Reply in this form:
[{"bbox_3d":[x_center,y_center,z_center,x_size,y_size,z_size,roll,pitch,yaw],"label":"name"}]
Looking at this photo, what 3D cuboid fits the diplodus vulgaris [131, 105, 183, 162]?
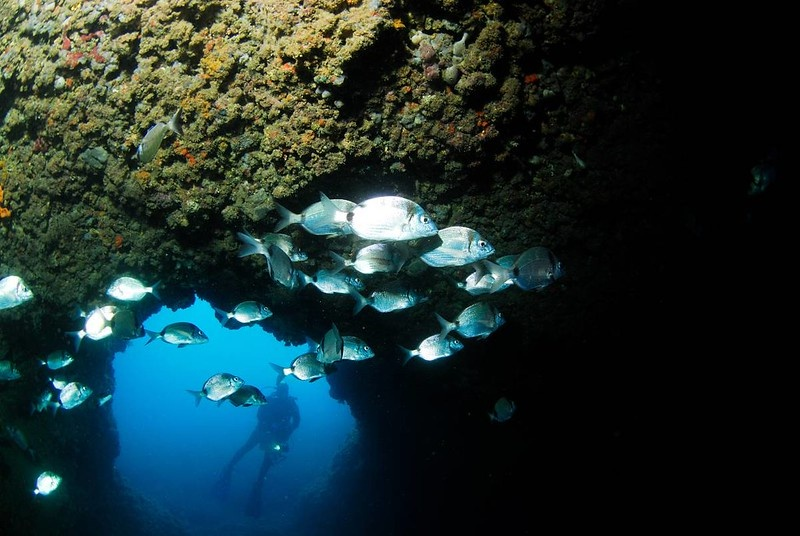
[{"bbox_3d":[-5.176,-2.827,15.287,0.280,1.424,0.736,14,38,-56],"label":"diplodus vulgaris"}]
